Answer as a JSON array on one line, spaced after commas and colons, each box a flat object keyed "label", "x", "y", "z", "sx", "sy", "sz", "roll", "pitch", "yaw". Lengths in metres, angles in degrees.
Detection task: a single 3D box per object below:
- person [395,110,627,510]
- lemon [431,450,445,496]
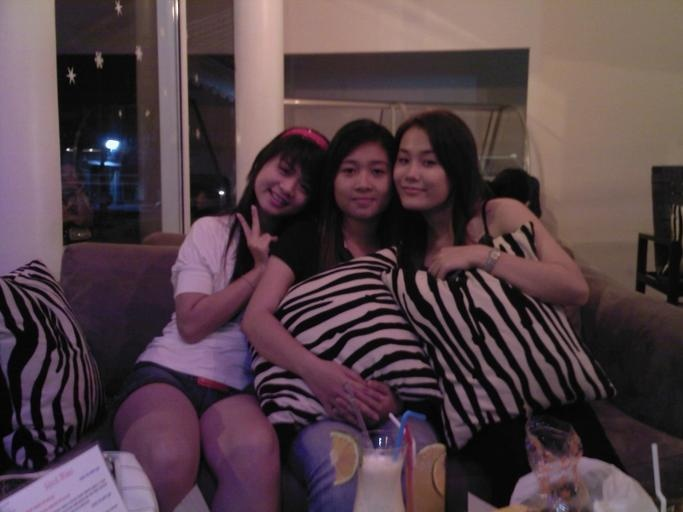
[{"label": "person", "x": 0.458, "y": 0.083, "z": 1.712, "sx": 0.550, "sy": 1.066, "sz": 0.747, "roll": -5, "pitch": 12, "yaw": -23}, {"label": "lemon", "x": 0.239, "y": 0.540, "z": 1.368, "sx": 0.031, "sy": 0.092, "sz": 0.051, "roll": 0, "pitch": 11, "yaw": 4}]
